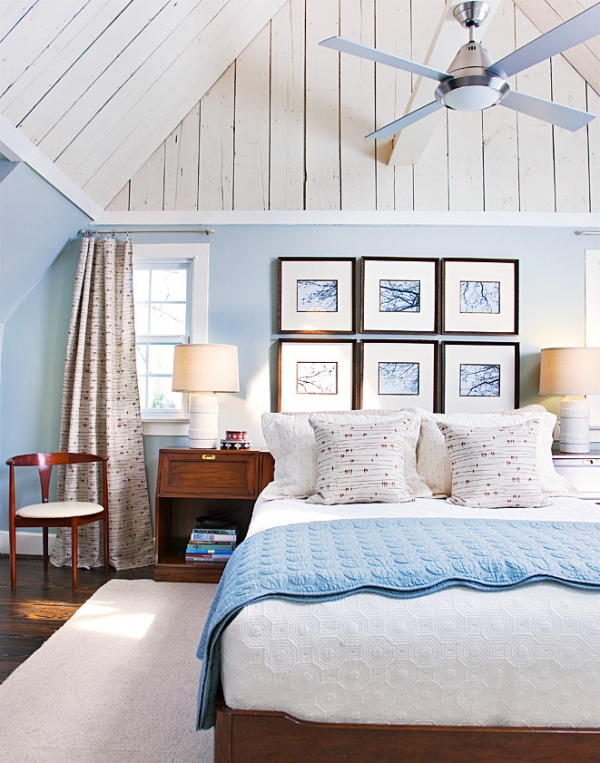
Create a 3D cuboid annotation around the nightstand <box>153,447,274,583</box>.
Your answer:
[{"bbox_3d":[-0.412,0.620,3.201,0.721,0.648,0.396,-1,-5,1],"label":"nightstand"}]

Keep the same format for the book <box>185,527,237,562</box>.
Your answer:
[{"bbox_3d":[-0.446,0.831,3.365,0.268,0.154,0.263,1,-2,0],"label":"book"}]

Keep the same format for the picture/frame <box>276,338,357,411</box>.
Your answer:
[{"bbox_3d":[0.104,-0.030,3.774,0.436,0.440,0.032,0,-1,1],"label":"picture/frame"}]

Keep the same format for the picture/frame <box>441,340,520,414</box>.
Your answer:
[{"bbox_3d":[0.995,-0.010,3.765,0.421,0.391,0.028,0,-5,-1],"label":"picture/frame"}]

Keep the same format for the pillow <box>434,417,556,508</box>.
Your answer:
[{"bbox_3d":[0.753,0.348,2.936,0.598,0.531,0.313,0,-21,6],"label":"pillow"}]

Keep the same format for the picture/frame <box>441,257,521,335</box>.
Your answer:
[{"bbox_3d":[1.014,-0.475,3.804,0.455,0.426,0.031,1,-3,-1],"label":"picture/frame"}]

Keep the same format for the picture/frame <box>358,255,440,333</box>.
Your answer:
[{"bbox_3d":[0.564,-0.481,3.803,0.458,0.427,0.031,1,-4,-1],"label":"picture/frame"}]

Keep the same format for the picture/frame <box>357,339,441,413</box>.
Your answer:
[{"bbox_3d":[0.543,-0.019,3.754,0.427,0.413,0.029,0,1,1],"label":"picture/frame"}]

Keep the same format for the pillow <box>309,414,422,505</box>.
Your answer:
[{"bbox_3d":[0.274,0.346,2.866,0.369,0.317,0.129,0,-43,2],"label":"pillow"}]

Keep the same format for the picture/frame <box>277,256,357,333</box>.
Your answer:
[{"bbox_3d":[0.108,-0.477,3.811,0.457,0.428,0.031,1,-5,-1],"label":"picture/frame"}]
